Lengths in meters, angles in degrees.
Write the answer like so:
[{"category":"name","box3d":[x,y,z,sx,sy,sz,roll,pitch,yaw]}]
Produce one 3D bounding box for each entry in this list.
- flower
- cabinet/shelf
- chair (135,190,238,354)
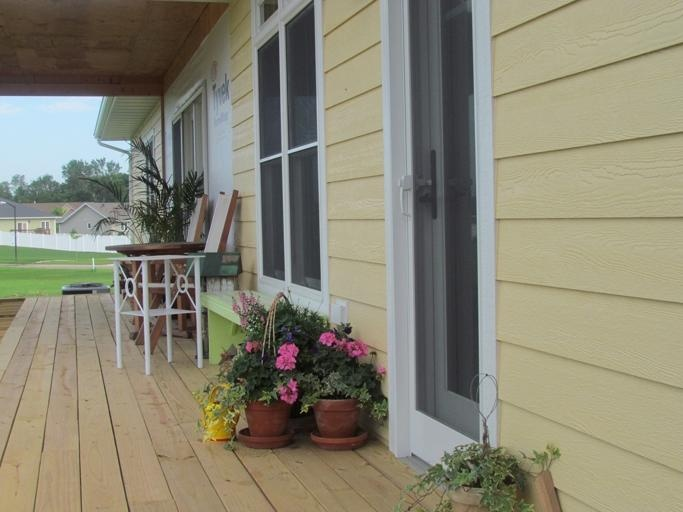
[{"category":"flower","box3d":[-0.242,0.638,3.193,0.928,0.745,0.841,1,3,-4]},{"category":"cabinet/shelf","box3d":[-1.516,0.489,5.165,0.810,1.042,0.818,-17,2,23]},{"category":"chair","box3d":[-1.708,0.145,5.416,1.112,1.667,0.879,-3,10,-25]}]
